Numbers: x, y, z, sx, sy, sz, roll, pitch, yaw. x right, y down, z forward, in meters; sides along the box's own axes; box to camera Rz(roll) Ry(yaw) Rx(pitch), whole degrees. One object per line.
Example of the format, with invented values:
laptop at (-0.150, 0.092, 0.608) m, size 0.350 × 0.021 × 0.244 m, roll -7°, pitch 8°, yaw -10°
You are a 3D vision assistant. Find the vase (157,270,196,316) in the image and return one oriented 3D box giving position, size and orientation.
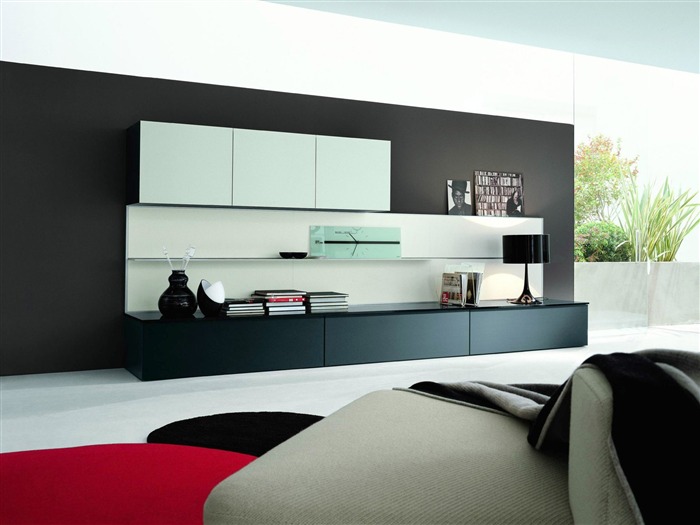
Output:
vase at (-1.511, 0.257, 4.370) m, size 0.346 × 0.491 × 0.367 m, roll 0°, pitch -1°, yaw -22°

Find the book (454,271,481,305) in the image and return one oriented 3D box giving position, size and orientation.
book at (1.231, 0.259, 5.127) m, size 0.305 × 0.370 × 0.309 m, roll 3°, pitch 4°, yaw 32°

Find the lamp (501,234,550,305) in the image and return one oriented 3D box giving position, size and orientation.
lamp at (1.971, 0.077, 5.554) m, size 0.485 × 0.782 × 0.475 m, roll -4°, pitch 4°, yaw -41°

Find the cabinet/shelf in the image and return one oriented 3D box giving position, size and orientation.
cabinet/shelf at (0.395, -0.133, 4.948) m, size 4.546 × 2.150 × 0.792 m, roll 0°, pitch 8°, yaw -17°

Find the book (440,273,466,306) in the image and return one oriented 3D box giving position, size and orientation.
book at (1.112, 0.283, 5.218) m, size 0.119 × 0.338 × 0.357 m, roll 5°, pitch -2°, yaw -16°
